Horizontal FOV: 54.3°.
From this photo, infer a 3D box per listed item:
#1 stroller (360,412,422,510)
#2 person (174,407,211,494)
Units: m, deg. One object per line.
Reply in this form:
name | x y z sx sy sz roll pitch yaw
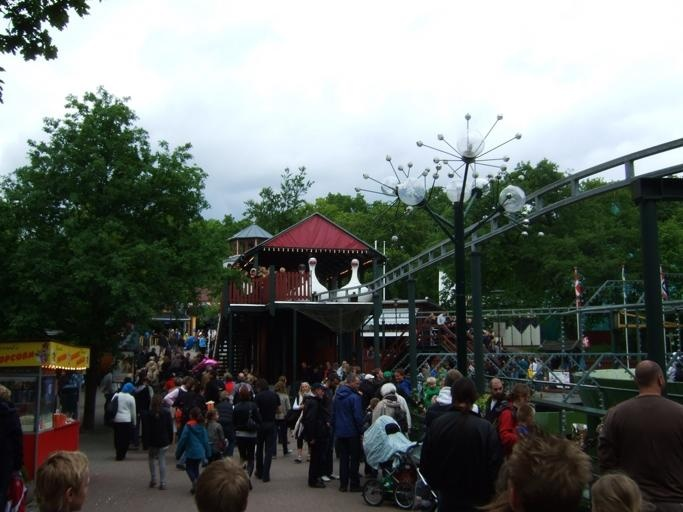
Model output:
stroller | 0.824 3.584 11.541 1.360 1.850 1.191 -5 -10 21
person | -2.900 3.747 12.951 0.624 1.583 0.857 3 -12 -14
